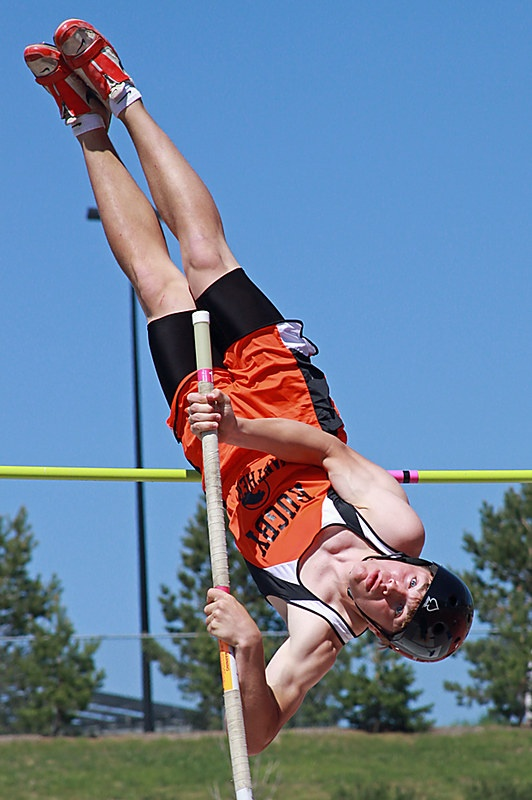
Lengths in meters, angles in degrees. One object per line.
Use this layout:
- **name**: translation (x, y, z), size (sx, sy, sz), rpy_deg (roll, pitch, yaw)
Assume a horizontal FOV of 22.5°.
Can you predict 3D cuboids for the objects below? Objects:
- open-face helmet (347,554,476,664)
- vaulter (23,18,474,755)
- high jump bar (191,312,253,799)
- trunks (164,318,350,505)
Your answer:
- **open-face helmet**: translation (0.515, 0.734, 4.717), size (0.445, 0.371, 0.229), rpy_deg (-3, -13, -3)
- **vaulter**: translation (-0.045, 0.148, 5.005), size (1.088, 3.803, 1.211), rpy_deg (-16, -9, 34)
- **high jump bar**: translation (-0.148, 0.482, 4.477), size (0.093, 1.641, 0.240), rpy_deg (-3, -13, -3)
- **trunks**: translation (-0.051, 0.034, 5.279), size (0.575, 0.735, 0.512), rpy_deg (-6, 0, -30)
